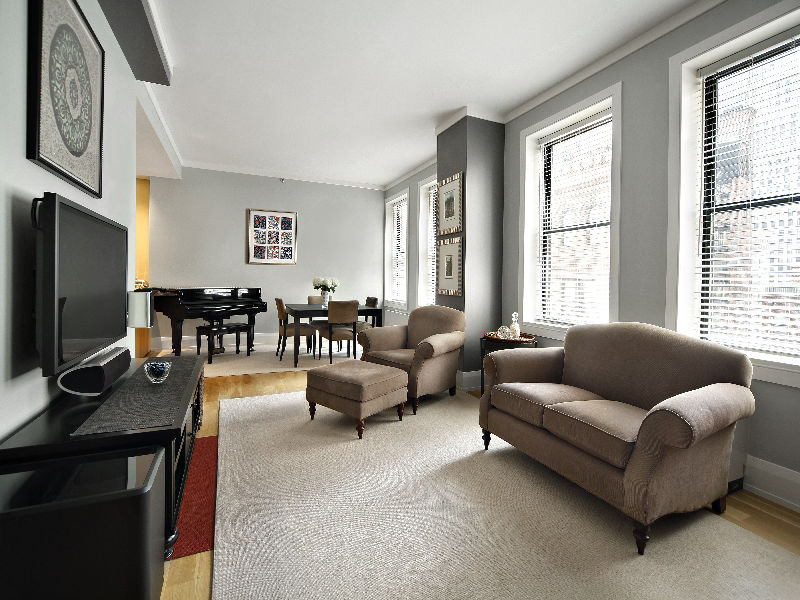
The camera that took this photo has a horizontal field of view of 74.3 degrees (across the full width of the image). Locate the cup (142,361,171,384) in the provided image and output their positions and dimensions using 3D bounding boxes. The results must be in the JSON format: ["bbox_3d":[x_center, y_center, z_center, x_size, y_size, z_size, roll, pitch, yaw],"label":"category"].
[{"bbox_3d":[-1.566,0.467,3.421,0.132,0.119,0.145,1,9,0],"label":"cup"}]

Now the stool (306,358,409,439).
[{"bbox_3d":[-0.386,0.841,4.630,0.879,0.498,0.984,2,5,3],"label":"stool"}]

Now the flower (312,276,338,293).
[{"bbox_3d":[-1.078,-0.187,7.639,0.367,0.233,0.281,2,2,20],"label":"flower"}]

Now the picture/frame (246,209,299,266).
[{"bbox_3d":[-2.030,-0.974,8.215,0.831,0.991,0.070,-1,3,-32],"label":"picture/frame"}]

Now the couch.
[{"bbox_3d":[1.426,0.781,3.819,0.979,1.239,1.922,1,4,-23],"label":"couch"}]

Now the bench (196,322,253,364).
[{"bbox_3d":[-2.367,0.451,7.004,0.775,0.567,0.458,-1,4,-44],"label":"bench"}]

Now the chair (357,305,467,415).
[{"bbox_3d":[0.129,0.527,5.250,0.992,0.943,0.853,4,4,42],"label":"chair"}]
